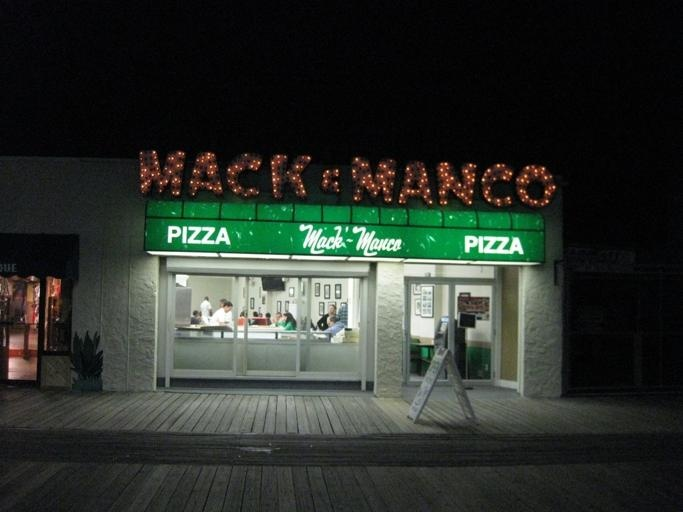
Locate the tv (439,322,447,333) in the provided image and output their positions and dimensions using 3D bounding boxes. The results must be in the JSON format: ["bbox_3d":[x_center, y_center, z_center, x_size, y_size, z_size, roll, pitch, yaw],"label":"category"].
[{"bbox_3d":[2.420,1.699,14.808,0.163,0.312,0.040,17,-13,30],"label":"tv"}]

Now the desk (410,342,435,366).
[{"bbox_3d":[1.839,2.286,14.898,0.676,0.703,0.498,2,-7,-19],"label":"desk"}]
